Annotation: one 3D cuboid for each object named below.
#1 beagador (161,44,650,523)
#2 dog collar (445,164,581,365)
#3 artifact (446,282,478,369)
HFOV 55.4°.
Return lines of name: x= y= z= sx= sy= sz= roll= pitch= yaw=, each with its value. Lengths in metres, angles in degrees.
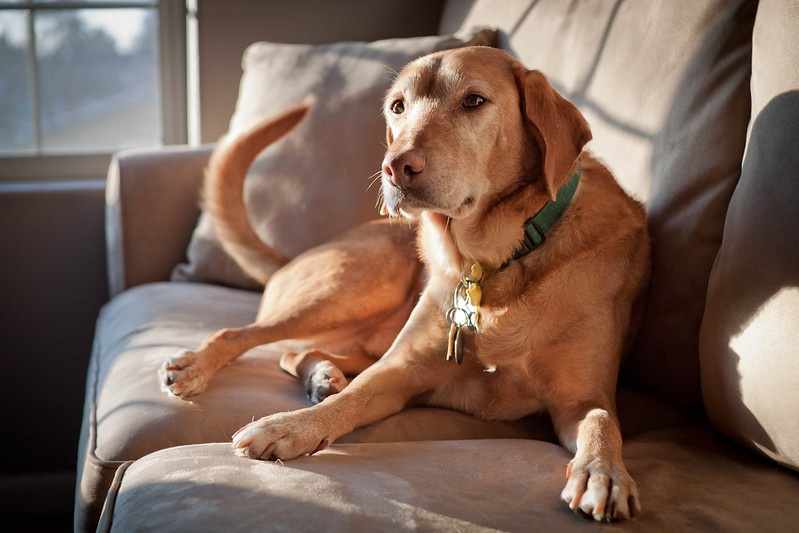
beagador: x=0.202 y=-0.016 z=2.676 sx=1.215 sy=0.970 sz=1.476 roll=0 pitch=8 yaw=7
dog collar: x=0.350 y=-0.009 z=2.226 sx=0.227 sy=0.600 sz=0.137 roll=40 pitch=14 yaw=29
artifact: x=0.183 y=0.156 z=2.277 sx=0.143 sy=0.047 sz=0.278 roll=5 pitch=67 yaw=6
